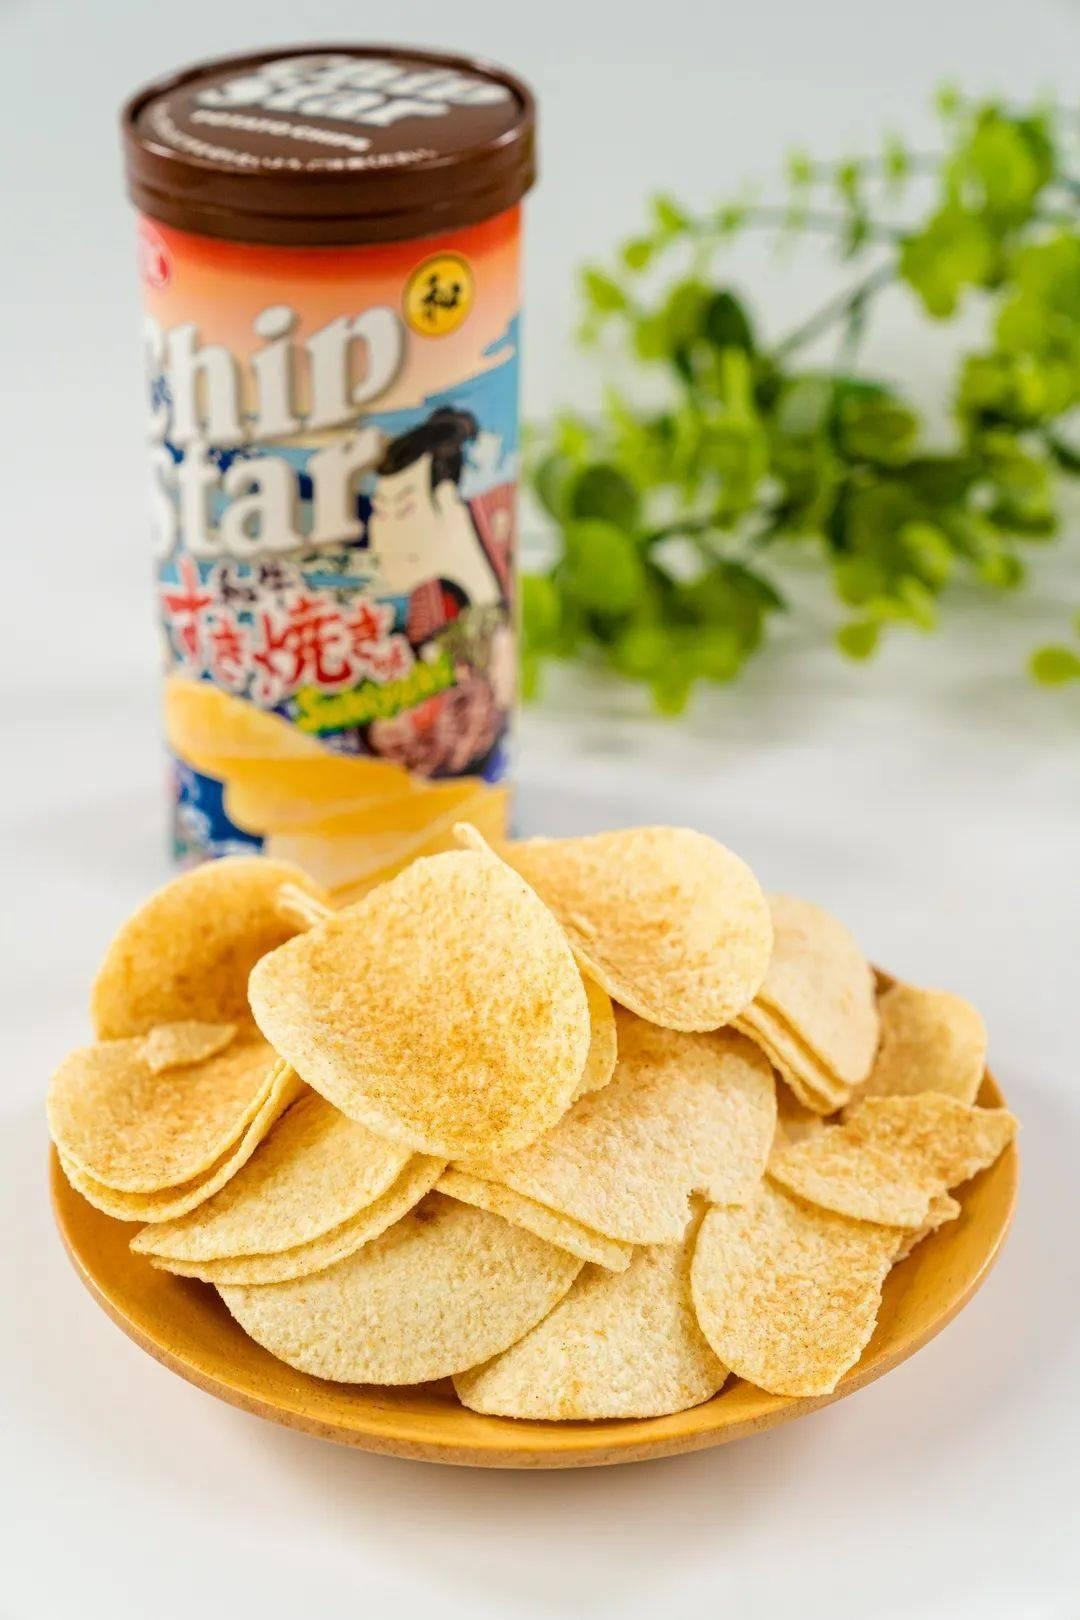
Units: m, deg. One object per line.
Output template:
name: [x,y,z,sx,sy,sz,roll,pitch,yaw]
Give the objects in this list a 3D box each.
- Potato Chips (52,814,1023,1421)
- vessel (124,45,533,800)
Potato Chips: [-0.001,0.083,0.569,0.349,0.138,0.255,0,21,-2]
vessel: [-0.096,-0.191,0.792,0.185,0.355,0.201,8,23,17]
